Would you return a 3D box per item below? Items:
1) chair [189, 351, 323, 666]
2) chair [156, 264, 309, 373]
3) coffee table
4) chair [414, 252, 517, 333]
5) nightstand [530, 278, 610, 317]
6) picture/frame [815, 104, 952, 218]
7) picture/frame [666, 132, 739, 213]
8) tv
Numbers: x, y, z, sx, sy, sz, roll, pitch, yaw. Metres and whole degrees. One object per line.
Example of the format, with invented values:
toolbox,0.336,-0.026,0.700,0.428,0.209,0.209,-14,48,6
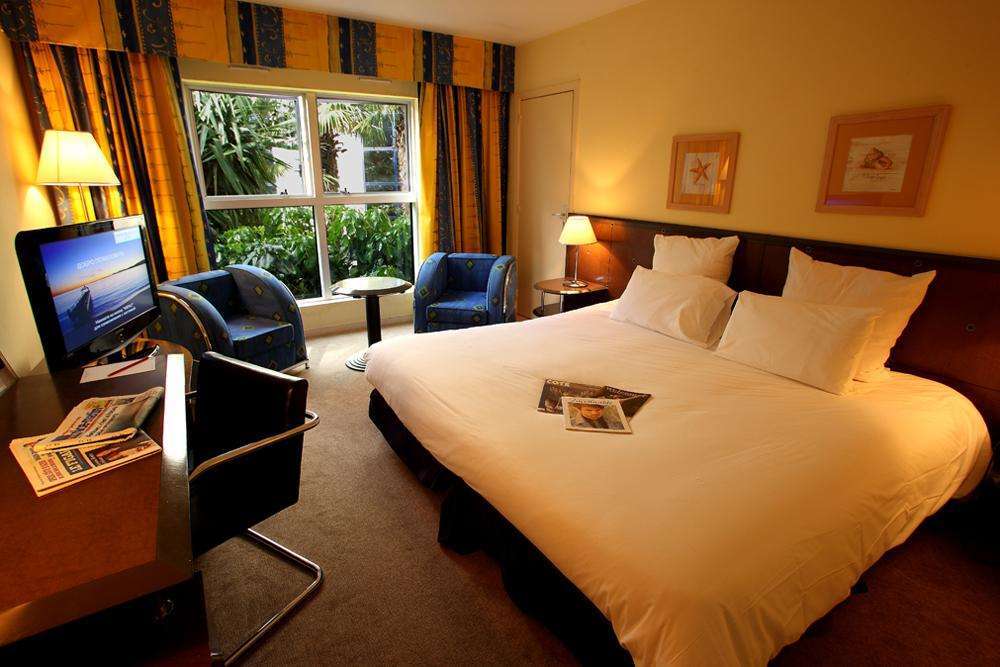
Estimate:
chair,-1.197,0.807,3.128,0.578,1.285,0.741,-5,20,-25
chair,-1.977,-0.115,4.824,0.851,0.912,0.932,14,20,27
coffee table,-1.066,-0.112,5.475,0.763,0.733,0.755,-7,22,-23
chair,-0.268,-0.388,5.673,0.840,0.747,0.775,3,19,6
nightstand,0.646,-0.251,5.506,0.532,0.291,0.382,-11,22,-29
picture/frame,2.320,-1.040,3.775,0.067,0.687,0.674,-19,24,-38
picture/frame,1.507,-1.195,4.630,0.039,0.570,0.522,-12,27,-40
tv,-2.125,-0.178,3.259,0.193,0.760,0.832,9,16,13
